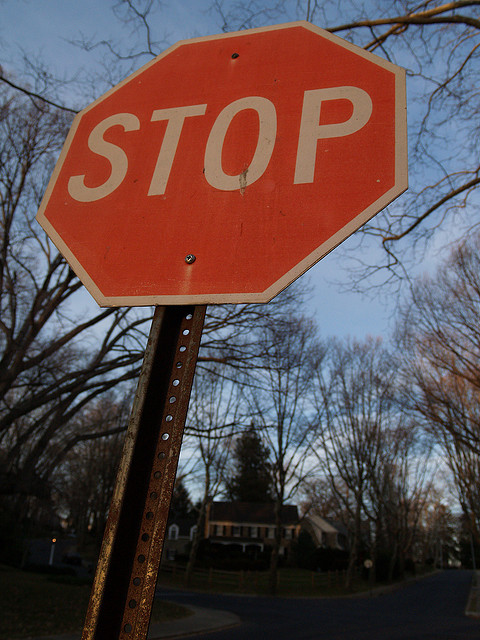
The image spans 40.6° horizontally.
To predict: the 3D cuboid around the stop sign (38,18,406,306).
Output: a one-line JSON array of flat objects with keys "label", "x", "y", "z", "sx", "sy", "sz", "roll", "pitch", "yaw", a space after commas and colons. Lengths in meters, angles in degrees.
[{"label": "stop sign", "x": -0.029, "y": -0.353, "z": 1.506, "sx": 0.720, "sy": 0.702, "sz": 0.030, "roll": -10, "pitch": -39, "yaw": 14}]
